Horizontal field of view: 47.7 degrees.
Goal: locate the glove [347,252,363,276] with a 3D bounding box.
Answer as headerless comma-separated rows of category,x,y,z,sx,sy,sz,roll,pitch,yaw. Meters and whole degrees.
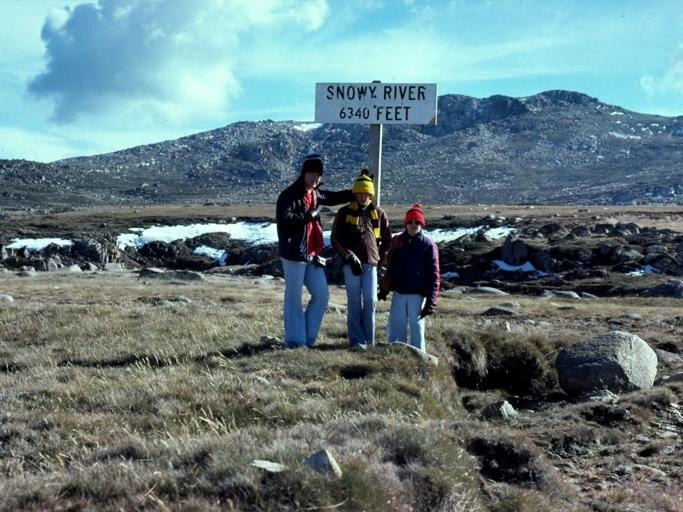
glove,0.256,0.166,14.898,0.285,0.434,0.123,6,-14,-26

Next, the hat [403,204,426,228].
hat,1.446,-0.808,15.095,0.364,0.462,0.498,6,-9,2

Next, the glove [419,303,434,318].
glove,1.645,1.046,14.852,0.252,0.338,0.384,-1,8,-7

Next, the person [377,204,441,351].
person,1.390,0.435,15.124,1.182,2.865,0.535,6,10,37

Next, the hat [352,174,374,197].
hat,0.392,-1.369,15.110,0.413,0.355,0.323,0,2,28

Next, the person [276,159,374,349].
person,-0.746,-0.056,14.851,0.960,3.702,0.516,-5,9,-28

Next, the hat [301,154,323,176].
hat,-0.561,-1.736,14.883,0.384,0.408,0.363,4,0,-7
